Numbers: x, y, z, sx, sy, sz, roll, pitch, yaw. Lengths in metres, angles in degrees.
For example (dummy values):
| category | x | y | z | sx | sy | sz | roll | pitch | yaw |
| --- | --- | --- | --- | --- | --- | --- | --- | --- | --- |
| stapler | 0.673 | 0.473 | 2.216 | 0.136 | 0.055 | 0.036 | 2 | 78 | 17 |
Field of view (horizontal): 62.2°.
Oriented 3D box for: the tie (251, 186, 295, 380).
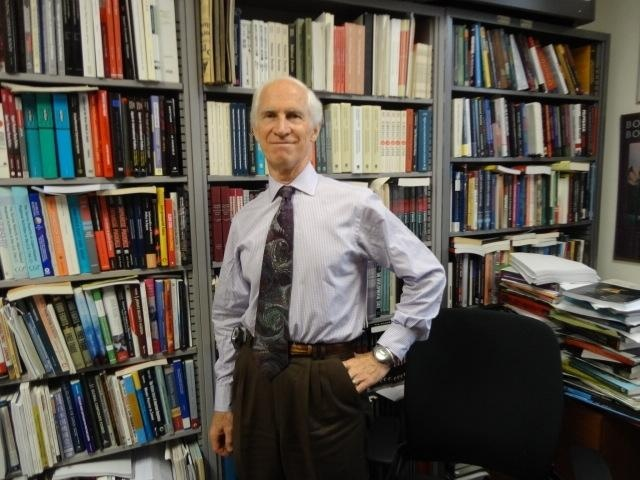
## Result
| category | x | y | z | sx | sy | sz | roll | pitch | yaw |
| --- | --- | --- | --- | --- | --- | --- | --- | --- | --- |
| tie | -0.174 | 0.153 | 2.131 | 0.144 | 0.717 | 0.249 | 2 | 10 | 18 |
